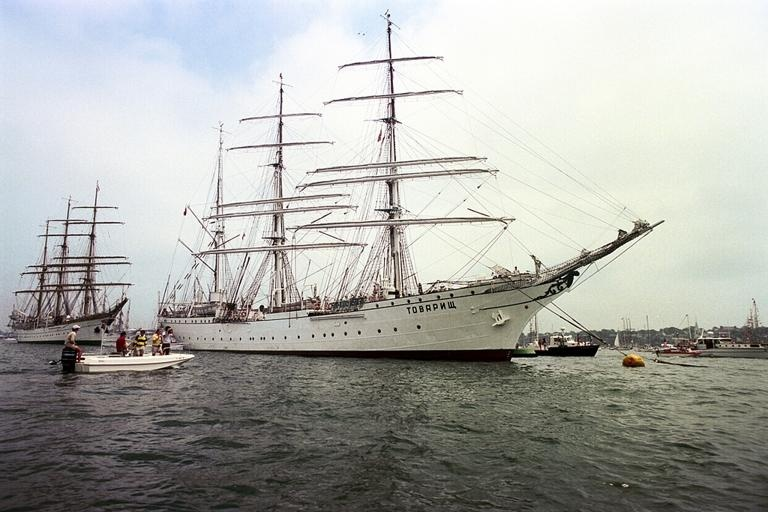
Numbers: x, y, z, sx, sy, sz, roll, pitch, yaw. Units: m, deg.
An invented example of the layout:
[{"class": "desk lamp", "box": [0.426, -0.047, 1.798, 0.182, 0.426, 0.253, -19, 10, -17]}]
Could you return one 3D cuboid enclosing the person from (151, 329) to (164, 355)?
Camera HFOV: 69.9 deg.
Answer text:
[{"class": "person", "box": [-15.089, 5.899, 36.384, 0.520, 1.522, 1.233, -3, 12, -20]}]
